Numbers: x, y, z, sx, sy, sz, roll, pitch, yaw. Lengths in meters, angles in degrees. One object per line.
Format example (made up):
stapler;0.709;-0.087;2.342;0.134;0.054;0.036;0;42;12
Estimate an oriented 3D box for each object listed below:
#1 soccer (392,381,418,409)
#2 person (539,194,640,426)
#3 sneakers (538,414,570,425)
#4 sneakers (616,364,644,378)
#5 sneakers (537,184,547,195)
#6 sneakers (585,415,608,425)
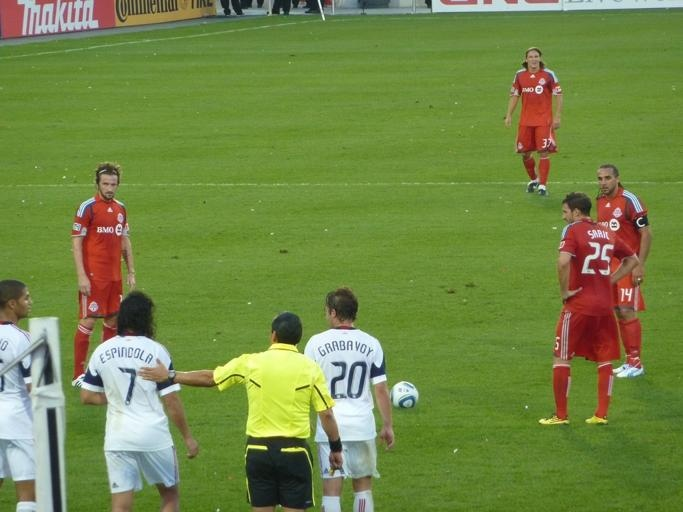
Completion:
soccer;1.144;2.394;28.789;0.460;0.437;0.449;17;10;3
person;4.239;0.892;28.405;1.623;4.037;0.631;-4;7;-1
sneakers;3.706;2.834;28.443;0.526;0.222;0.191;4;-1;3
sneakers;5.242;2.075;29.604;0.600;0.240;0.196;0;1;3
sneakers;4.457;-1.502;36.250;0.157;0.240;0.251;-3;-15;8
sneakers;4.455;2.820;28.531;0.416;0.167;0.146;4;10;10
